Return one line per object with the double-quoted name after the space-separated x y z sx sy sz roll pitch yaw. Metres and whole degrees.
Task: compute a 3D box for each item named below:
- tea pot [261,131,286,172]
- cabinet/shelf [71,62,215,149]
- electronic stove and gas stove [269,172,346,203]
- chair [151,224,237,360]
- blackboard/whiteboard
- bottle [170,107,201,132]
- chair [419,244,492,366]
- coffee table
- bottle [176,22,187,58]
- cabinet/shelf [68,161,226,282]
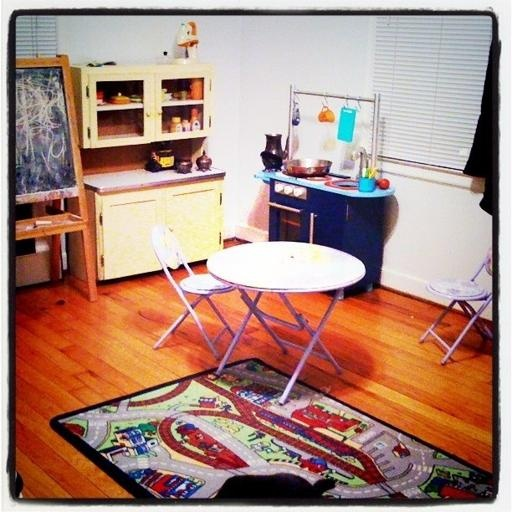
0.158 -0.957 4.308 0.213 0.315 0.353 3 19 2 "tea pot"
-0.983 -1.353 4.150 1.248 0.643 0.366 -17 39 -34 "cabinet/shelf"
0.409 -0.597 4.037 0.649 0.167 0.305 17 24 37 "electronic stove and gas stove"
-0.383 0.203 2.986 0.604 0.794 0.583 11 14 41 "chair"
-1.482 -0.880 3.271 0.434 0.969 0.208 -6 20 -21 "blackboard/whiteboard"
-0.671 -1.267 4.338 0.224 0.183 0.070 -8 17 -28 "bottle"
1.345 0.287 2.991 0.506 0.668 0.383 -2 13 -1 "chair"
0.111 0.360 2.578 0.789 0.592 0.815 19 33 27 "coffee table"
-0.692 -1.999 4.316 0.098 0.319 0.272 -1 19 -9 "bottle"
-0.940 -0.296 3.830 0.353 0.584 0.996 17 25 41 "cabinet/shelf"
